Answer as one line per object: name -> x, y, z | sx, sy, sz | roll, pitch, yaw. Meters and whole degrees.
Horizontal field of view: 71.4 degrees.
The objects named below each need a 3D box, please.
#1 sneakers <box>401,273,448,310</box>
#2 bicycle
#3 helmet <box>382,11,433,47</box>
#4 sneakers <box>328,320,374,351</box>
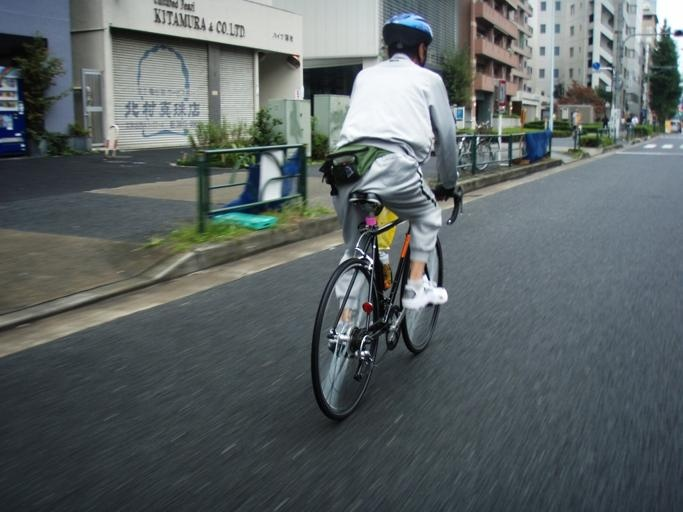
sneakers -> 0.535, 0.212, 3.111 | 0.269, 0.137, 0.102 | -18, -32, 39
bicycle -> 0.559, 0.259, 3.111 | 0.617, 1.380, 1.946 | 7, 21, 27
helmet -> 0.399, -1.409, 2.964 | 0.251, 0.179, 0.240 | 3, 24, 0
sneakers -> 0.052, 0.437, 2.669 | 0.056, 0.188, 0.359 | 7, 15, 38
